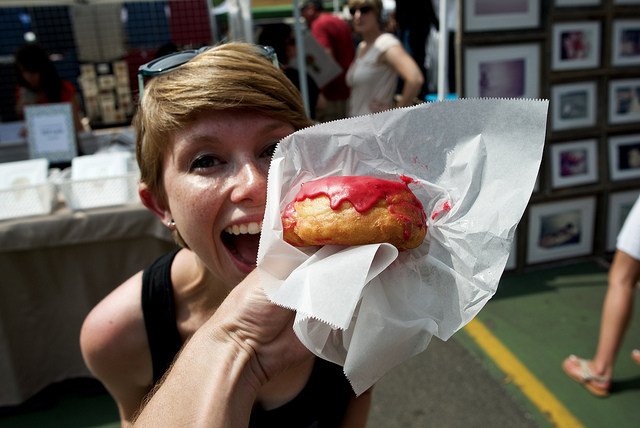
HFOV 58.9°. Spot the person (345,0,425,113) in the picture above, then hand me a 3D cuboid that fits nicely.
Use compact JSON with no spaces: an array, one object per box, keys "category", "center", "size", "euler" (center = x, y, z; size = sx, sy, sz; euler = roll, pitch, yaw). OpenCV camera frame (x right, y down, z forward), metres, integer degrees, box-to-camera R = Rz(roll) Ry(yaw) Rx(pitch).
[{"category":"person","center":[0.617,-1.554,5.716],"size":[0.494,1.137,0.974],"euler":[-9,22,-19]}]

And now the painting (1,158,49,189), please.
[{"category":"painting","center":[-2.246,-0.318,4.312],"size":[0.322,0.123,0.271],"euler":[-9,22,-19]}]

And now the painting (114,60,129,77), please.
[{"category":"painting","center":[-1.969,-1.446,5.631],"size":[0.155,0.151,0.039],"euler":[-4,-10,-13]}]

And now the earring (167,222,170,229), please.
[{"category":"earring","center":[-0.823,0.052,3.083],"size":[0.015,0.019,0.004],"euler":[6,22,20]}]

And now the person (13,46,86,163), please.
[{"category":"person","center":[-2.269,-0.951,4.759],"size":[0.471,0.860,0.930],"euler":[-12,23,-25]}]

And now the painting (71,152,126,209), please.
[{"category":"painting","center":[-1.672,-0.251,4.271],"size":[0.358,0.308,0.443],"euler":[-9,22,-18]}]

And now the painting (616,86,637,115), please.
[{"category":"painting","center":[2.829,-1.057,5.223],"size":[0.253,0.269,0.020],"euler":[0,5,-6]}]

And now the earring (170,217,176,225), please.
[{"category":"earring","center":[-0.796,0.043,3.073],"size":[0.029,0.030,0.007],"euler":[2,12,45]}]
